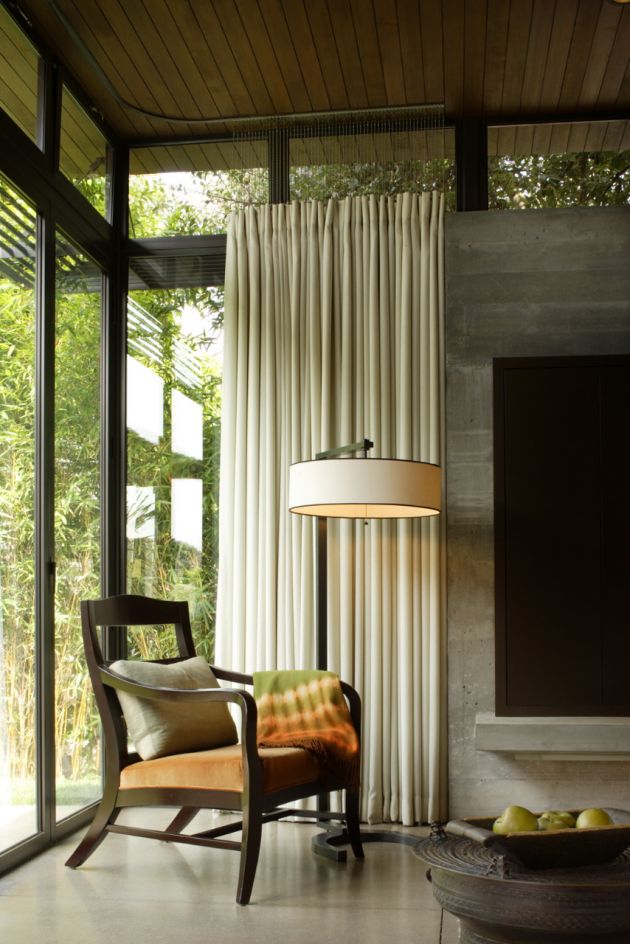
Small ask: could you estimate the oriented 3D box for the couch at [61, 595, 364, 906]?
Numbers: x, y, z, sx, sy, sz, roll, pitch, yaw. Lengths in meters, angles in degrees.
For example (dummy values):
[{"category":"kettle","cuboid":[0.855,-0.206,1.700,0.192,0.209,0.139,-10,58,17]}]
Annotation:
[{"category":"couch","cuboid":[-0.280,0.856,2.655,0.859,0.974,0.901,5,-16,-33]}]
